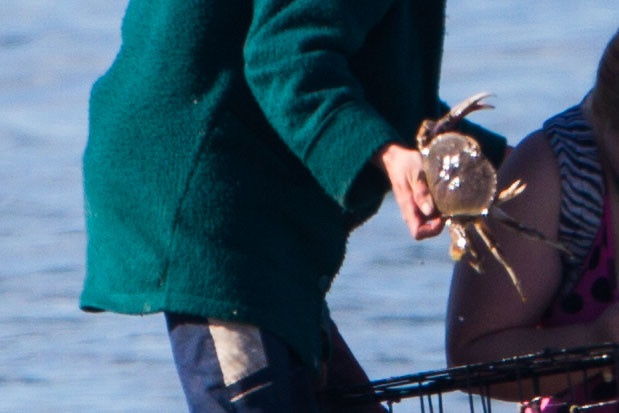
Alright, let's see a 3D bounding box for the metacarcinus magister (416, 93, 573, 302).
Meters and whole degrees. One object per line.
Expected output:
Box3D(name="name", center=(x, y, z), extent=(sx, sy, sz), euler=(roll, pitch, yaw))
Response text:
Box3D(name="metacarcinus magister", center=(0.375, -0.058, 4.541), extent=(0.180, 0.334, 0.696), euler=(6, 6, 29))
